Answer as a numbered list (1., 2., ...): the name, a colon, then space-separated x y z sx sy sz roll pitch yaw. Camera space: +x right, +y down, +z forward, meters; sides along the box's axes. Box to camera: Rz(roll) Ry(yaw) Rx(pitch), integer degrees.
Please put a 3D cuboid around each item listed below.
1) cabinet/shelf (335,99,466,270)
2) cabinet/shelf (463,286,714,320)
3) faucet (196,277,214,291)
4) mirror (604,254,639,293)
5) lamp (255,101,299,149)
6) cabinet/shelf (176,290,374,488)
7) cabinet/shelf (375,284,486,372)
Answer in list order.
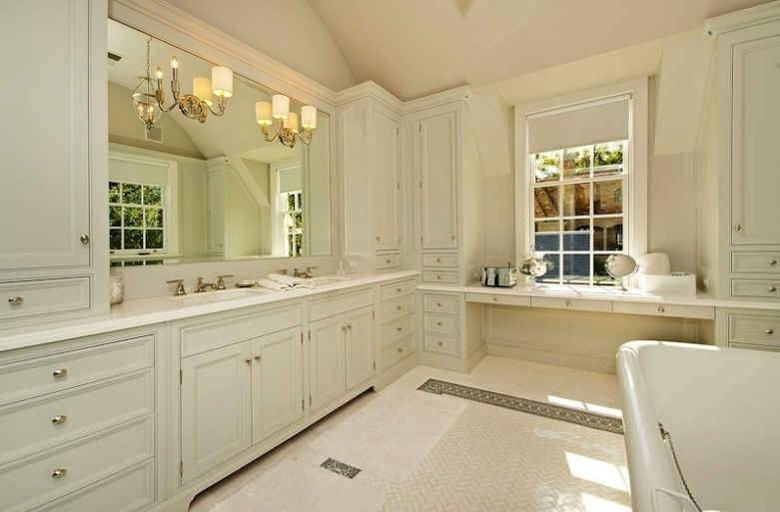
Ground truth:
1. cabinet/shelf: 0.116 -0.743 5.285 1.348 1.883 0.497 -4 2 -15
2. cabinet/shelf: 1.938 0.450 4.796 2.161 0.291 0.389 -2 2 23
3. faucet: -1.587 0.243 4.137 0.146 0.096 0.087 -4 8 -39
4. mirror: 2.408 0.177 4.957 0.387 0.441 0.211 -5 -1 20
5. lamp: -1.089 -1.234 4.513 0.204 0.374 0.550 -6 -3 32
6. cabinet/shelf: -0.984 1.108 3.876 0.299 0.864 1.567 -3 -1 34
7. cabinet/shelf: 0.616 0.799 5.420 0.616 0.946 0.443 -2 2 32
